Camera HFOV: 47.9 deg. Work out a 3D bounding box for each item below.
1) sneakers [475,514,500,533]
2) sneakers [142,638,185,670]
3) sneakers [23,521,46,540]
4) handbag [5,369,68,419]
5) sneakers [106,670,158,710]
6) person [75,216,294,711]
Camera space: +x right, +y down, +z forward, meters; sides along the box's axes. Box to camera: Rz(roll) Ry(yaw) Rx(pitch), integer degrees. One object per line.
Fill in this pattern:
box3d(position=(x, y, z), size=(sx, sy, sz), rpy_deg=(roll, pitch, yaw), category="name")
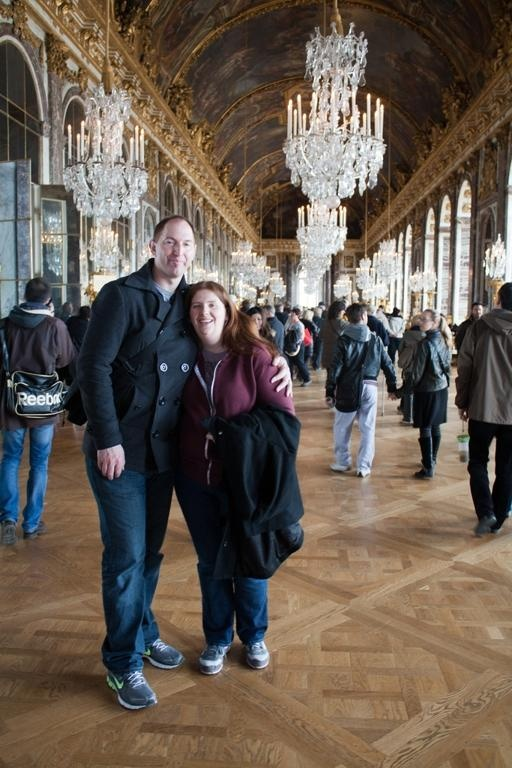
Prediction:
box3d(position=(1.550, 0.948, 3.931), size=(0.168, 0.177, 0.105), rpy_deg=(-1, -3, 11), category="sneakers")
box3d(position=(-0.368, 1.033, 2.245), size=(0.178, 0.075, 0.084), rpy_deg=(0, 9, 33), category="sneakers")
box3d(position=(-1.435, 0.950, 3.755), size=(0.051, 0.071, 0.150), rpy_deg=(5, 17, 12), category="sneakers")
box3d(position=(-1.379, 0.063, 3.585), size=(0.264, 0.251, 0.144), rpy_deg=(9, -21, -40), category="handbag")
box3d(position=(-0.427, 1.023, 1.951), size=(0.077, 0.085, 0.178), rpy_deg=(1, -7, -39), category="sneakers")
box3d(position=(-0.412, 0.253, 2.030), size=(0.330, 1.685, 0.474), rpy_deg=(3, 4, 36), category="person")
